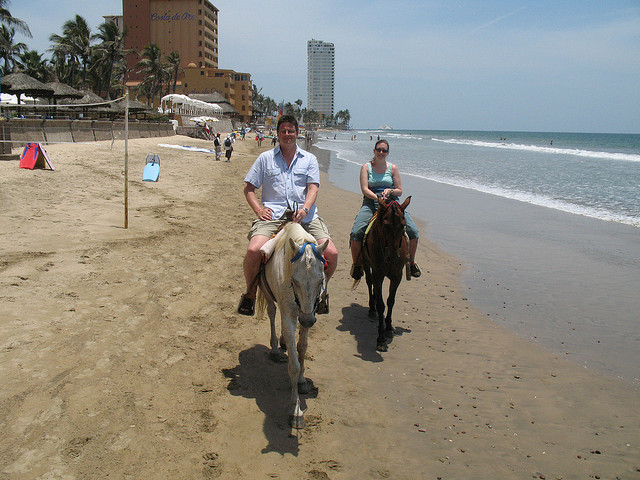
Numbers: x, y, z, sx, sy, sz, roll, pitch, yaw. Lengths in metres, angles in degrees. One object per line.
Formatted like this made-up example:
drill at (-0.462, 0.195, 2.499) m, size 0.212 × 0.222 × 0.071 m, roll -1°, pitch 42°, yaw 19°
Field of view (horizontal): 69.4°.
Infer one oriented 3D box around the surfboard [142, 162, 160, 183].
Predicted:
surfboard at (-6.662, -2.683, 18.281) m, size 0.564 × 0.714 × 0.777 m, roll -1°, pitch 18°, yaw -15°

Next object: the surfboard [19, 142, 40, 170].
surfboard at (-11.031, -3.214, 17.579) m, size 0.799 × 0.919 × 0.642 m, roll 15°, pitch 21°, yaw 31°

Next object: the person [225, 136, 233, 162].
person at (-6.553, -6.523, 33.172) m, size 0.394 × 1.707 × 1.081 m, roll -1°, pitch 18°, yaw -15°

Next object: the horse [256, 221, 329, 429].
horse at (-0.376, 1.035, 6.117) m, size 0.558 × 2.476 × 1.580 m, roll -4°, pitch 19°, yaw -22°

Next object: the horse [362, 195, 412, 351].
horse at (1.130, 0.473, 8.089) m, size 0.682 × 2.629 × 1.530 m, roll 3°, pitch 18°, yaw -2°
